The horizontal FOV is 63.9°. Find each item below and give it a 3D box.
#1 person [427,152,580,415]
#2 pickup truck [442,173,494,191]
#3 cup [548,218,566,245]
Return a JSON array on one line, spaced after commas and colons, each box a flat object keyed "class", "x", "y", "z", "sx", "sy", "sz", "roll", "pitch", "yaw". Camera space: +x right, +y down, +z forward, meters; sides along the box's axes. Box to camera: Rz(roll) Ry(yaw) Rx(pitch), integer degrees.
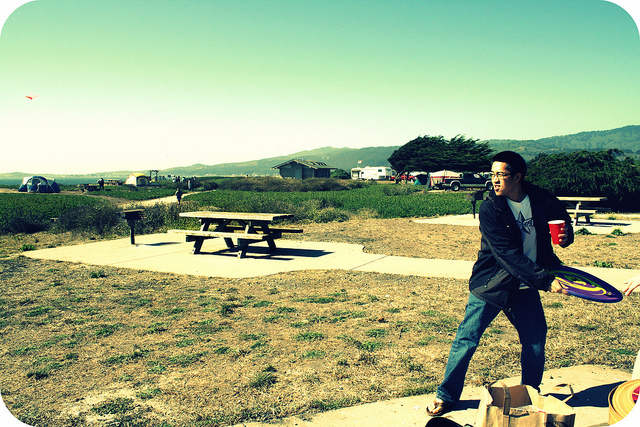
[{"class": "person", "x": 2.348, "y": 0.849, "z": 6.354, "sx": 1.584, "sy": 3.119, "sz": 1.007, "roll": 1, "pitch": 15, "yaw": 9}, {"class": "pickup truck", "x": 14.865, "y": -3.021, "z": 51.093, "sx": 2.791, "sy": 1.605, "sz": 6.208, "roll": -6, "pitch": 16, "yaw": -18}, {"class": "cup", "x": 2.945, "y": 0.229, "z": 6.369, "sx": 0.201, "sy": 0.308, "sz": 0.146, "roll": -2, "pitch": 15, "yaw": -5}]
